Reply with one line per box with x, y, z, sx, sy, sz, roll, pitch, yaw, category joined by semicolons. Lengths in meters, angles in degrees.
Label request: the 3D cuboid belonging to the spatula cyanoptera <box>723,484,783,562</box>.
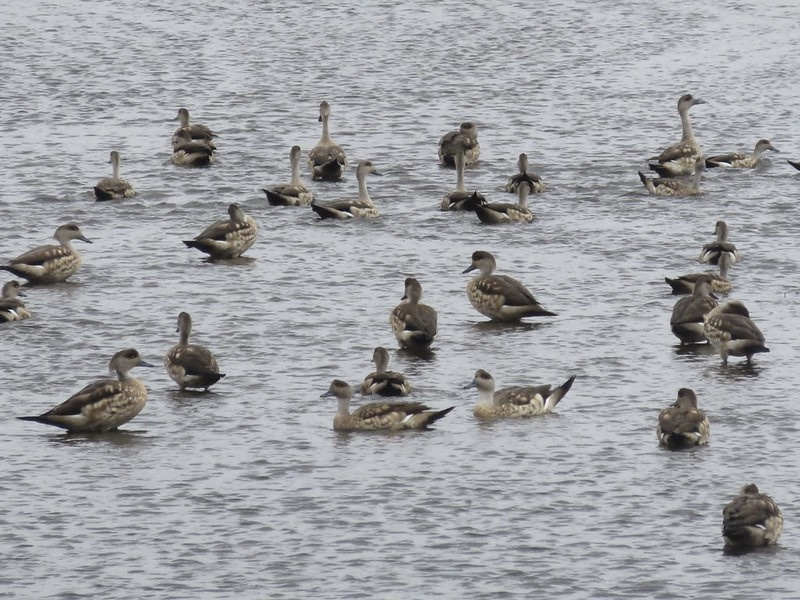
3.905;2.445;18.900;0.657;0.546;0.564;4;42;-1;spatula cyanoptera
